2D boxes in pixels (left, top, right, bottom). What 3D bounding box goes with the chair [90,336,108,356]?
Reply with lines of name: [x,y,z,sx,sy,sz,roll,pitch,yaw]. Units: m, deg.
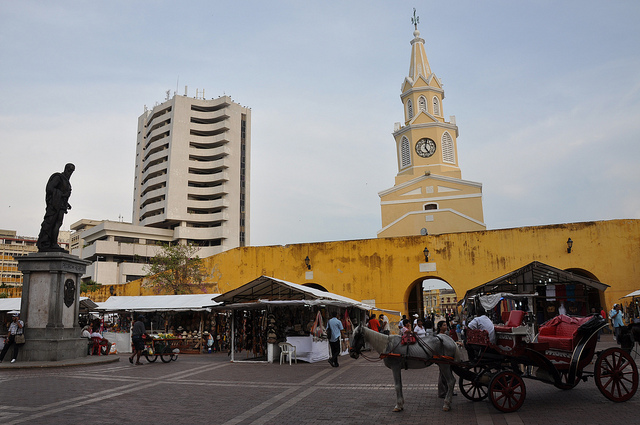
chair: [-10.302,6.201,23.506,0.702,0.926,0.687,-19,-24,37]

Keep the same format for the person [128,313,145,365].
person: [-7.699,5.487,21.279,0.573,1.887,1.265,0,-3,-19]

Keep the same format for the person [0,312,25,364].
person: [-11.991,4.982,19.730,0.982,1.688,0.863,-3,-3,42]

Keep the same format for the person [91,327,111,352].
person: [-10.236,6.114,23.531,0.744,0.921,0.633,0,-3,-16]

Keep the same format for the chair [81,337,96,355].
chair: [-10.519,6.159,23.327,0.593,0.841,0.621,8,-19,-27]

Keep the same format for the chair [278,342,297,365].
chair: [-1.379,5.980,21.532,0.671,1.020,0.761,-2,-7,16]

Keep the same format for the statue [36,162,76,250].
statue: [-11.126,-0.209,21.434,1.349,3.855,1.378,-5,-10,13]

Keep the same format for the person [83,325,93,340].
person: [-10.662,5.621,23.271,0.379,0.579,1.045,0,-3,-22]

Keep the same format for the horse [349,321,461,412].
horse: [2.356,4.301,13.800,3.075,2.207,1.009,0,-4,5]
